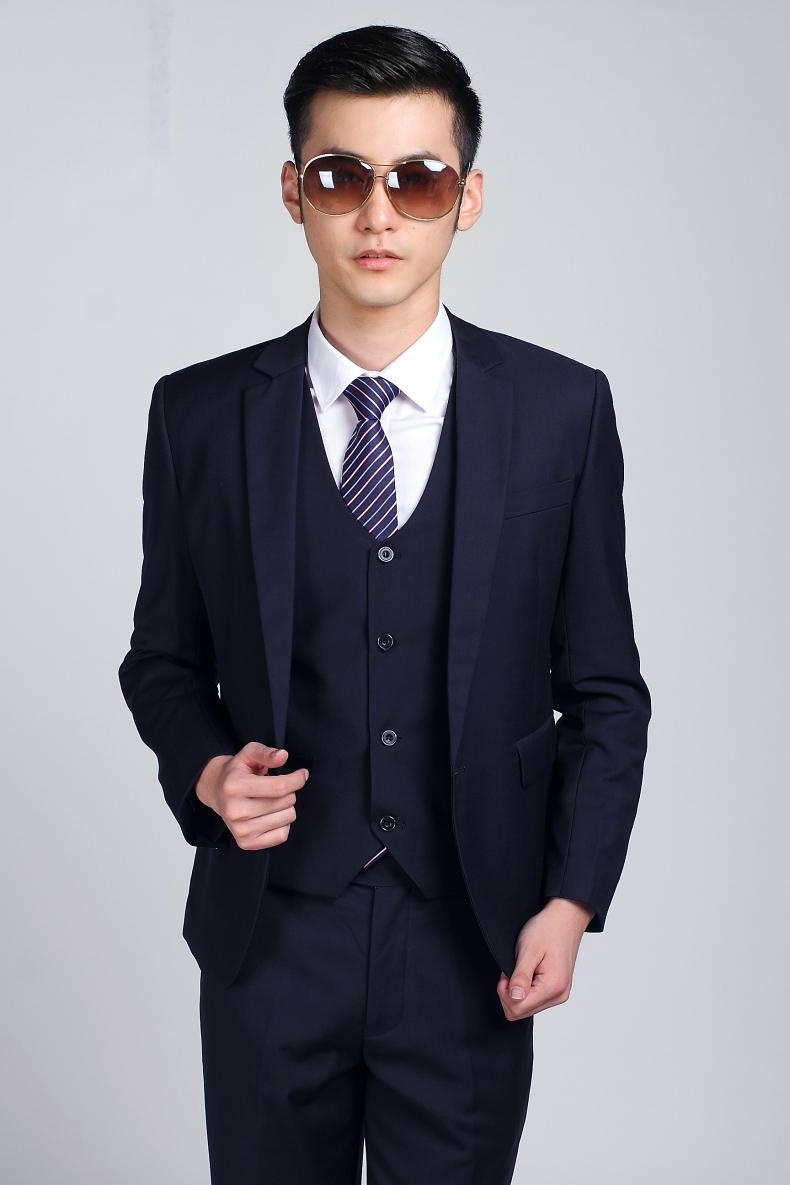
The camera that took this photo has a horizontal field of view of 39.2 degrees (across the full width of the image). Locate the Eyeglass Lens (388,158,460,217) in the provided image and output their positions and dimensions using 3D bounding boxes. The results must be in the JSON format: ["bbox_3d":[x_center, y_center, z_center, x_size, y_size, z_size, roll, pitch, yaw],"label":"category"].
[{"bbox_3d":[0.031,-0.474,1.303,0.080,0.074,0.033,3,23,0],"label":"Eyeglass Lens"}]

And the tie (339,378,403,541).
[{"bbox_3d":[-0.039,-0.214,1.412,0.068,0.020,0.227,13,43,-7],"label":"tie"}]

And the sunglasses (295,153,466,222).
[{"bbox_3d":[-0.020,-0.478,1.307,0.119,0.038,0.109,1,-4,-2],"label":"sunglasses"}]

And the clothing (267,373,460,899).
[{"bbox_3d":[-0.028,0.082,1.379,0.205,0.546,0.213,1,11,-4],"label":"clothing"}]
